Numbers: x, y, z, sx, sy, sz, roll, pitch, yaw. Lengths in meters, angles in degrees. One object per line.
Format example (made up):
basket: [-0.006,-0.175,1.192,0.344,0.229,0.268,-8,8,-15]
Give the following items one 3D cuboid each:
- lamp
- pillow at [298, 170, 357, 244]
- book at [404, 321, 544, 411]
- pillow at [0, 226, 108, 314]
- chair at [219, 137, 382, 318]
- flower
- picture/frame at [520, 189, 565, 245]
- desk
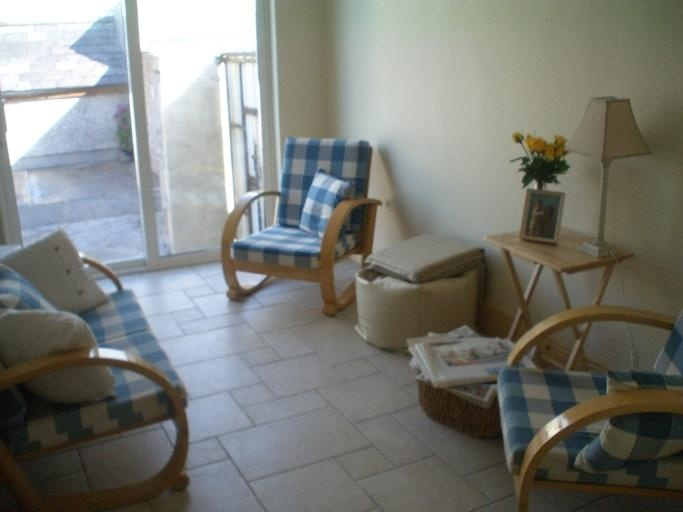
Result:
lamp: [1.179,-0.364,2.433,0.327,0.651,0.308,-16,29,-30]
pillow: [-0.108,-0.358,3.806,0.379,0.381,0.321,21,33,40]
book: [0.544,0.480,2.533,0.366,0.130,0.378,-10,27,-14]
pillow: [-1.359,0.089,2.646,0.132,0.423,0.438,-29,9,30]
chair: [-0.193,-0.253,4.018,1.052,1.346,1.273,8,21,22]
flower: [0.978,-0.449,2.708,0.267,0.337,0.404,9,26,21]
picture/frame: [0.948,-0.178,2.588,0.243,0.322,0.034,9,6,26]
desk: [1.058,0.199,2.618,0.382,0.587,0.549,-9,23,-18]
